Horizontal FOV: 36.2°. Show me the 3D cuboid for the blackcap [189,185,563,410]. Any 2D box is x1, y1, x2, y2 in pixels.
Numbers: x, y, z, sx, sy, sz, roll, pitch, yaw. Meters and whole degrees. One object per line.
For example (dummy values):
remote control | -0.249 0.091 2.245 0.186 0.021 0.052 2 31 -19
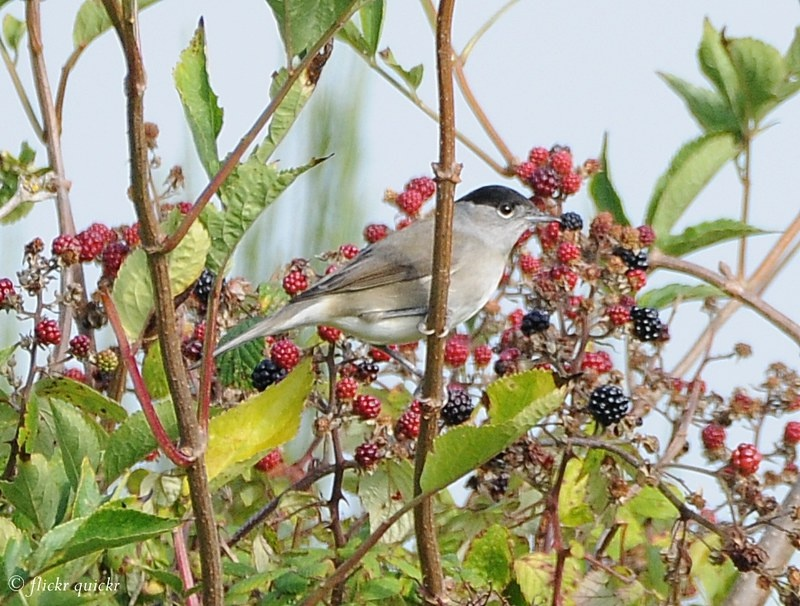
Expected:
blackcap | -0.013 -0.090 3.428 0.894 0.505 0.278 0 -5 -8
